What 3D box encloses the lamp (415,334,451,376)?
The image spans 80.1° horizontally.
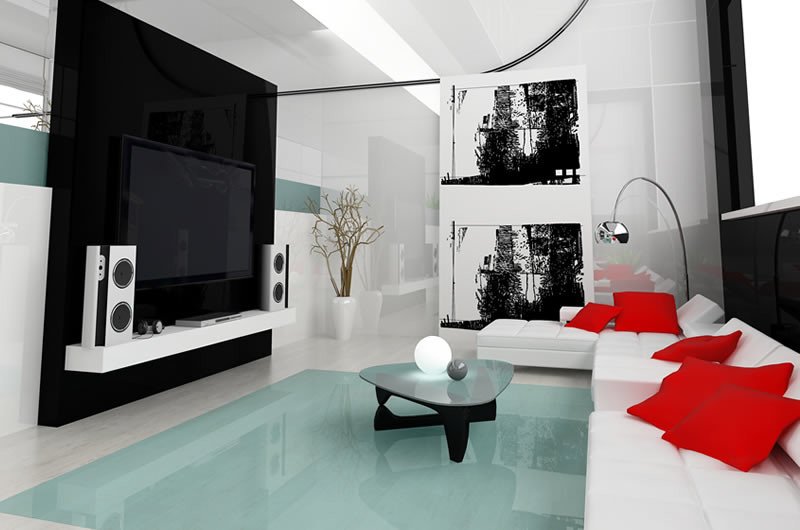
[{"bbox_3d":[0.294,0.714,3.992,0.296,0.363,0.303,-3,1,-8],"label":"lamp"}]

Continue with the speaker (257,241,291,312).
[{"bbox_3d":[-1.478,0.143,5.616,0.362,0.760,0.303,-3,9,-18],"label":"speaker"}]

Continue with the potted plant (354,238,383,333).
[{"bbox_3d":[-0.455,0.343,6.943,0.420,1.286,0.301,0,8,1],"label":"potted plant"}]

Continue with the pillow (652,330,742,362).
[{"bbox_3d":[2.353,0.655,3.748,0.401,0.129,0.404,-13,3,34],"label":"pillow"}]

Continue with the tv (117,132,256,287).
[{"bbox_3d":[-2.151,-0.546,4.713,0.176,1.210,1.635,-2,-2,23],"label":"tv"}]

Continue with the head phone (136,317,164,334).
[{"bbox_3d":[-2.313,0.556,4.402,0.229,0.134,0.299,-7,12,-37],"label":"head phone"}]

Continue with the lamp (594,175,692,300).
[{"bbox_3d":[2.875,-0.306,5.828,1.489,1.537,0.844,-6,10,-33],"label":"lamp"}]

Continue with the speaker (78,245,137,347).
[{"bbox_3d":[-2.436,0.243,3.993,0.432,0.810,0.253,-5,10,-31],"label":"speaker"}]
